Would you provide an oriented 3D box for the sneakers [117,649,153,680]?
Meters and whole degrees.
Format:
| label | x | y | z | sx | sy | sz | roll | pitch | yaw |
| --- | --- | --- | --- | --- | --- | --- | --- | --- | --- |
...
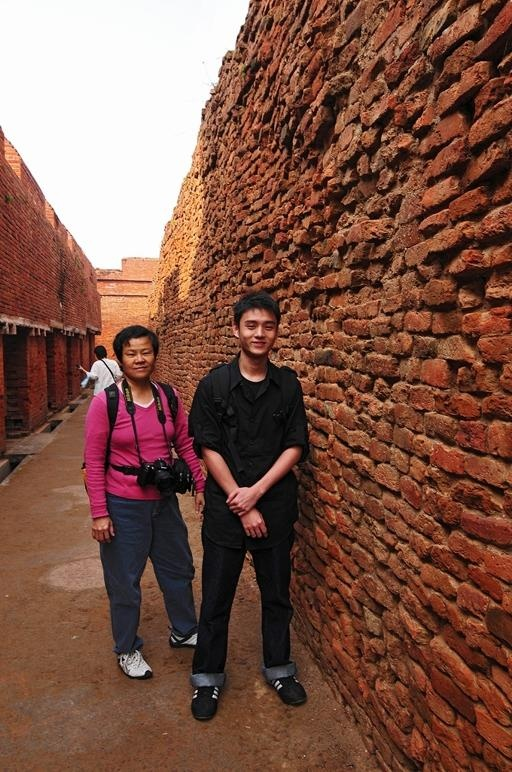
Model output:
| label | x | y | z | sx | sy | sz | roll | pitch | yaw |
| --- | --- | --- | --- | --- | --- | --- | --- | --- | --- |
| sneakers | -0.631 | 1.472 | 2.610 | 0.087 | 0.098 | 0.222 | 10 | -16 | -38 |

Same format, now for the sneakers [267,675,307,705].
| label | x | y | z | sx | sy | sz | roll | pitch | yaw |
| --- | --- | --- | --- | --- | --- | --- | --- | --- | --- |
| sneakers | 0.158 | 1.487 | 2.418 | 0.083 | 0.097 | 0.224 | 5 | -18 | -18 |

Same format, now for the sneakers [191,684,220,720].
| label | x | y | z | sx | sy | sz | roll | pitch | yaw |
| --- | --- | --- | --- | --- | --- | --- | --- | --- | --- |
| sneakers | -0.234 | 1.484 | 2.315 | 0.121 | 0.105 | 0.117 | 0 | 1 | -9 |

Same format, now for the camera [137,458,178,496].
| label | x | y | z | sx | sy | sz | roll | pitch | yaw |
| --- | --- | --- | --- | --- | --- | --- | --- | --- | --- |
| camera | -0.486 | 0.451 | 2.464 | 0.169 | 0.180 | 0.075 | 2 | 9 | -9 |

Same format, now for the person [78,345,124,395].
| label | x | y | z | sx | sy | sz | roll | pitch | yaw |
| --- | --- | --- | --- | --- | --- | --- | --- | --- | --- |
| person | -2.486 | 0.004 | 8.118 | 0.579 | 1.292 | 0.342 | -5 | 21 | -27 |

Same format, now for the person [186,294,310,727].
| label | x | y | z | sx | sy | sz | roll | pitch | yaw |
| --- | --- | --- | --- | --- | --- | --- | --- | --- | --- |
| person | -0.028 | 0.554 | 2.361 | 0.561 | 1.974 | 0.318 | 0 | 2 | -8 |
